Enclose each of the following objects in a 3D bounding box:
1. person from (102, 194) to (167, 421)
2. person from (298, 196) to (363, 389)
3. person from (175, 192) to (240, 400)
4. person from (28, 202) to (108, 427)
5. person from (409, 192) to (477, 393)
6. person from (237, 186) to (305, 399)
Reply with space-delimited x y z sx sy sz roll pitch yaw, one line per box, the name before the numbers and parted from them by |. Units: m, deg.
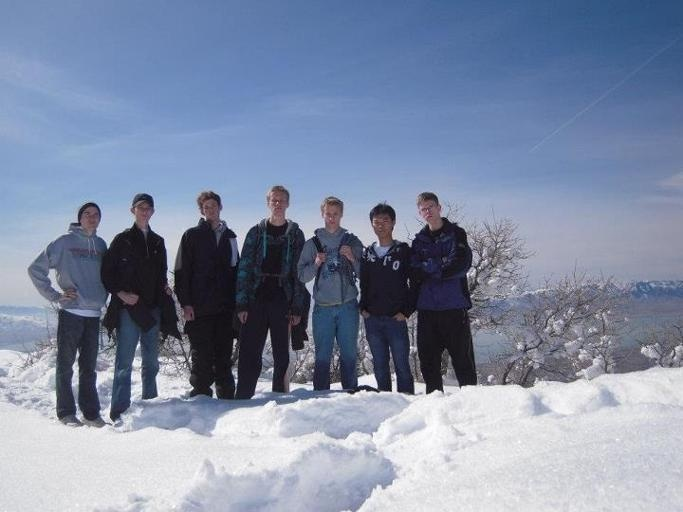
person | -2.497 0.564 6.342 0.798 2.699 0.536 1 -8 -24
person | -0.117 0.445 6.287 0.785 2.291 0.467 -2 -7 1
person | -1.792 0.518 6.893 0.821 2.732 0.536 0 -7 -15
person | -3.239 0.616 6.218 0.781 2.629 0.632 1 -8 -24
person | 1.208 0.410 6.236 0.707 2.380 0.446 -3 -7 14
person | -0.877 0.419 6.327 0.816 2.523 0.307 -3 -7 10
